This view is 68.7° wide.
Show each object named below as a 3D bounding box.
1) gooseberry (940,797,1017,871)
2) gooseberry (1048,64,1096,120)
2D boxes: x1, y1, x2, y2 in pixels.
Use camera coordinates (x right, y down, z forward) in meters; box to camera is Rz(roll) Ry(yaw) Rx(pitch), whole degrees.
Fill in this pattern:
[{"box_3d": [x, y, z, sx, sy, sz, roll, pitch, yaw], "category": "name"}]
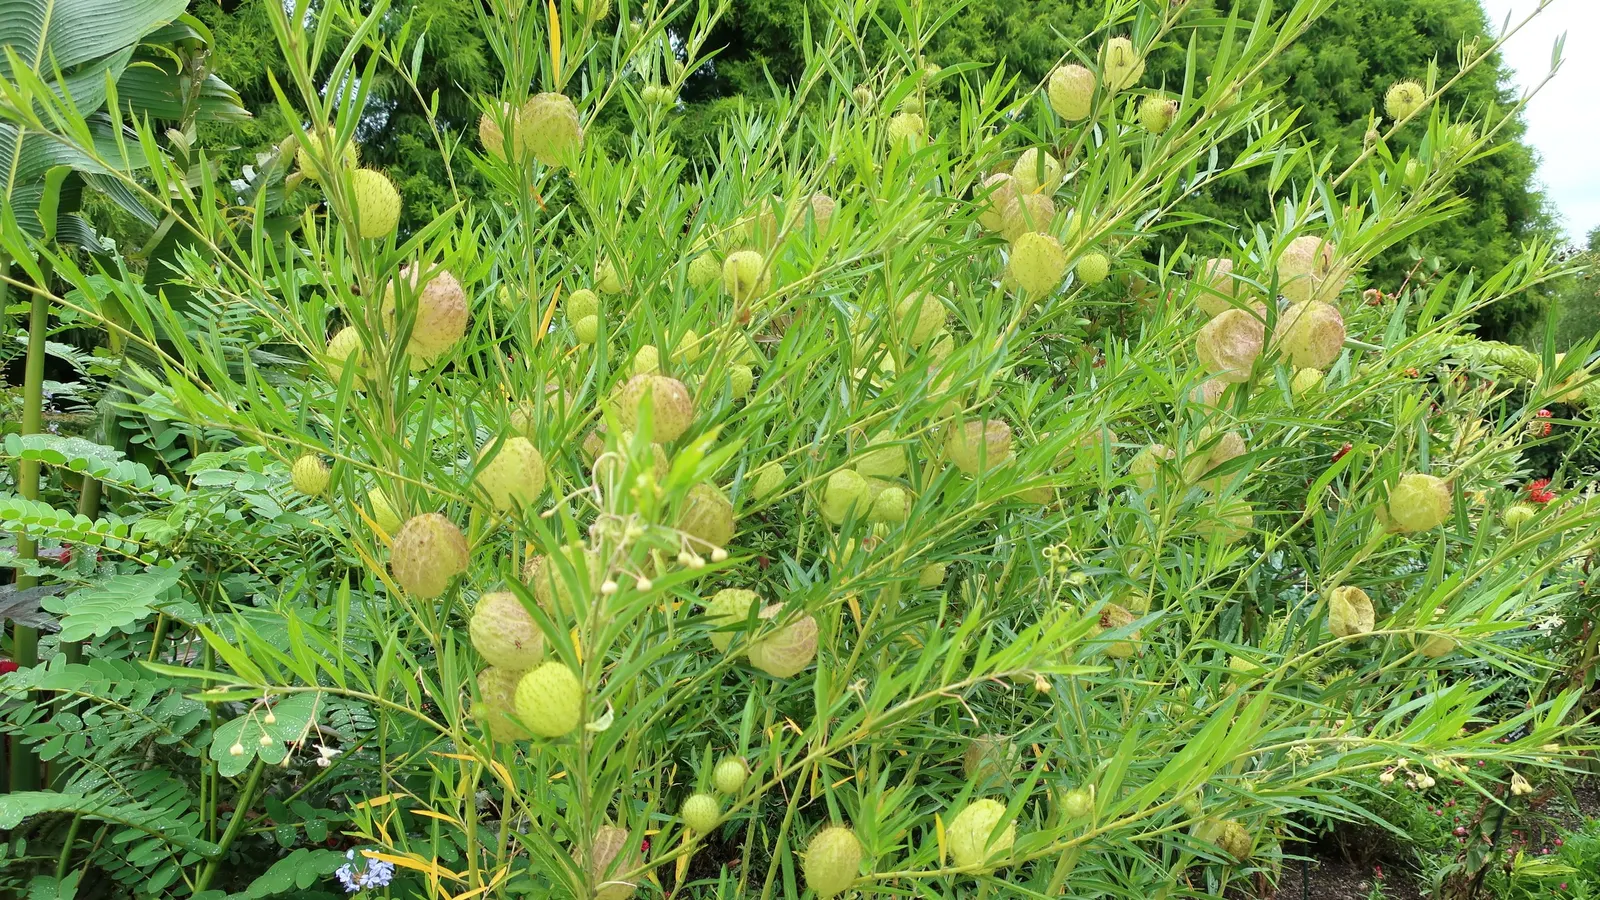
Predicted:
[{"box_3d": [0.221, 0.500, 1.528, 0.092, 0.101, 0.087, 1, 13, 0], "category": "gooseberry"}, {"box_3d": [0.398, -0.528, 1.724, 0.076, 0.081, 0.075, -3, 14, 27], "category": "gooseberry"}]
